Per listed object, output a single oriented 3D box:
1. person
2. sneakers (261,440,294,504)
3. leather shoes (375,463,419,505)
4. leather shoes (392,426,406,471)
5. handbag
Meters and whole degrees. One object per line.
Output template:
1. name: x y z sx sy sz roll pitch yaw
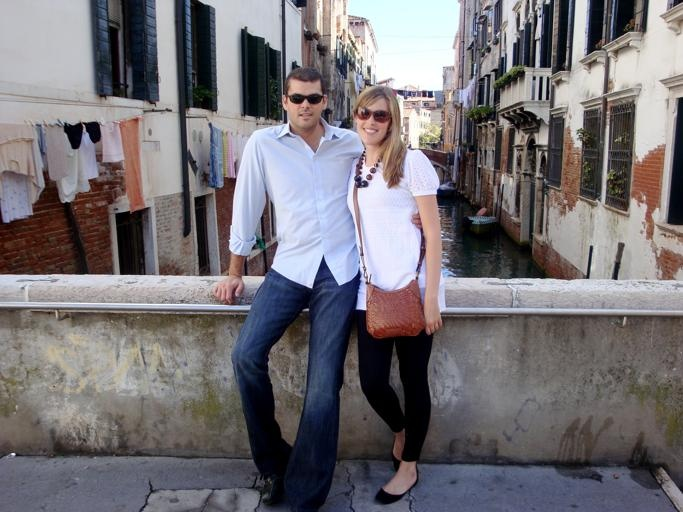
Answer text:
1. person: -0.300 0.108 3.000 0.775 2.255 0.964 2 13 17
2. sneakers: -0.351 1.147 2.933 0.184 0.264 0.257 -4 13 -9
3. leather shoes: 0.305 1.250 2.940 0.270 0.133 0.091 9 -6 -43
4. leather shoes: 0.324 1.096 3.072 0.063 0.231 0.081 3 3 15
5. handbag: 0.278 0.278 2.746 0.228 0.266 0.099 -4 -14 3
